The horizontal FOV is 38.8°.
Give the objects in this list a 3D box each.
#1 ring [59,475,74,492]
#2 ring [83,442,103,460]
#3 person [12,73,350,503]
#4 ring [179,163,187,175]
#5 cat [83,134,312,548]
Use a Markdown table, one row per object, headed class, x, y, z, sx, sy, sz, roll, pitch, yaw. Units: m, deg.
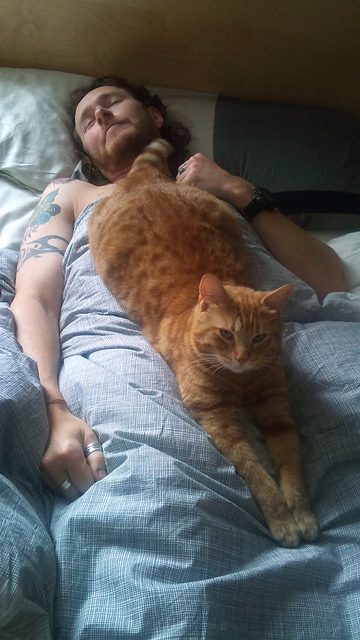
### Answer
| class | x | y | z | sx | sy | sz | roll | pitch | yaw |
| --- | --- | --- | --- | --- | --- | --- | --- | --- | --- |
| ring | -0.186 | 0.270 | 0.840 | 0.005 | 0.020 | 0.020 | 39 | 94 | -9 |
| ring | -0.151 | 0.228 | 0.904 | 0.025 | 0.026 | 0.019 | -46 | 69 | 17 |
| person | -0.082 | 0.002 | 1.656 | 0.917 | 0.342 | 1.241 | -13 | 46 | 7 |
| ring | 0.008 | -0.505 | 1.707 | 0.010 | 0.022 | 0.024 | 27 | 79 | 18 |
| cat | 0.010 | -0.038 | 1.198 | 0.321 | 0.401 | 0.952 | -14 | 67 | -16 |
